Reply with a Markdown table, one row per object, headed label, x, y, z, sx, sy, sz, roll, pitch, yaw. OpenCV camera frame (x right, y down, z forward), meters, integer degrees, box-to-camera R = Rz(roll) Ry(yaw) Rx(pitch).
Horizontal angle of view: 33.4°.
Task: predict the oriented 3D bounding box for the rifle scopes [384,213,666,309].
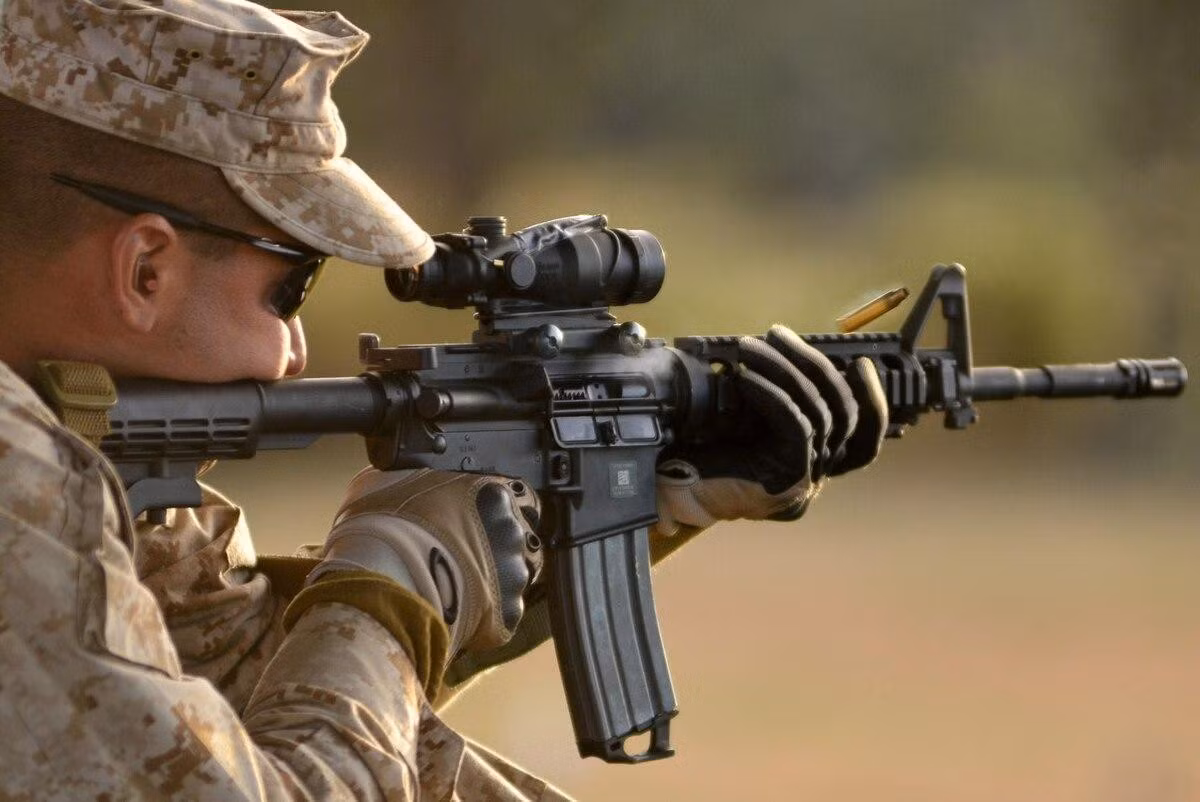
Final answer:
| label | x | y | z | sx | sy | sz | roll | pitch | yaw |
| --- | --- | --- | --- | --- | --- | --- | --- | --- | --- |
| rifle scopes | -0.106 | -0.177 | 2.740 | 0.364 | 0.140 | 0.148 | -2 | 0 | -24 |

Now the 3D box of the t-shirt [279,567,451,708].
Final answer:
| label | x | y | z | sx | sy | sz | roll | pitch | yaw |
| --- | --- | --- | --- | --- | --- | --- | --- | --- | --- |
| t-shirt | -0.260 | 0.251 | 2.420 | 0.187 | 0.091 | 0.142 | 38 | 11 | 15 |
